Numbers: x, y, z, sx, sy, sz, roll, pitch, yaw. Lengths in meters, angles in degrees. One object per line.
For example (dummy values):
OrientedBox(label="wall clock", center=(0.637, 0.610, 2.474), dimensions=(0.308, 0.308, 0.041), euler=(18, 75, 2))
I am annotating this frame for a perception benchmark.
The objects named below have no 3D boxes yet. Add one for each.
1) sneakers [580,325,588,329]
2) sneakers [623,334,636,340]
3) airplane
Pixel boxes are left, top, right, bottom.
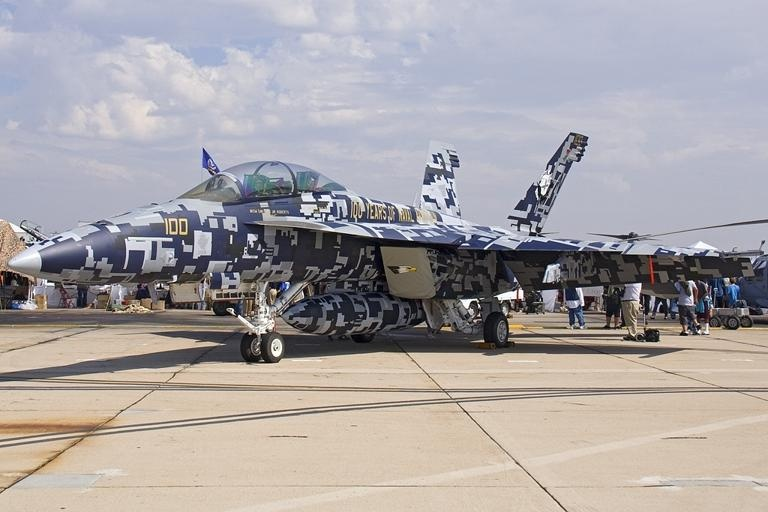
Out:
OrientedBox(label="sneakers", center=(6.381, 2.275, 22.239), dimensions=(0.262, 0.165, 0.073), euler=(5, -23, 0))
OrientedBox(label="sneakers", center=(6.286, 2.074, 17.691), dimensions=(0.233, 0.169, 0.551), euler=(2, 6, 22))
OrientedBox(label="airplane", center=(-0.573, 0.176, 14.095), dimensions=(12.121, 3.893, 3.898), euler=(-1, 1, -22))
